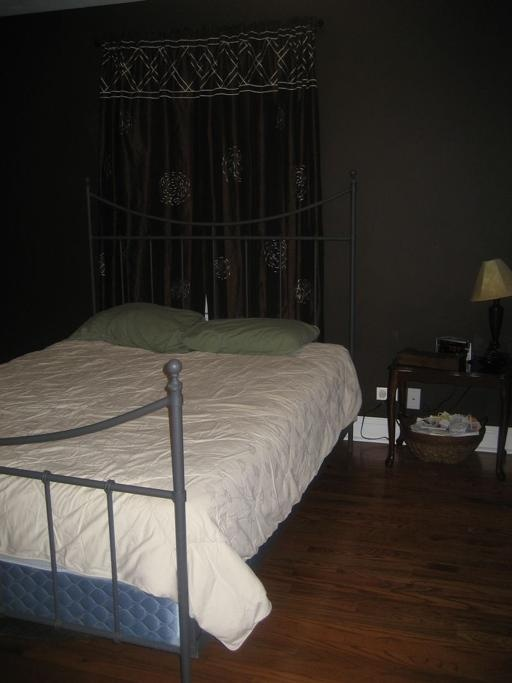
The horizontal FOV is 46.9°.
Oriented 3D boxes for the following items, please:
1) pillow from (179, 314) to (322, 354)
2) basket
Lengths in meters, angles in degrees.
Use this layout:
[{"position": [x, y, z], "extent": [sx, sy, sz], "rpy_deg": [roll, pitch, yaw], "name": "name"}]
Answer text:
[{"position": [-0.024, -0.038, 2.851], "extent": [0.617, 0.150, 0.303], "rpy_deg": [1, 8, 9], "name": "pillow"}, {"position": [0.895, 0.455, 2.805], "extent": [0.277, 0.168, 0.294], "rpy_deg": [-2, 1, -28], "name": "basket"}]
